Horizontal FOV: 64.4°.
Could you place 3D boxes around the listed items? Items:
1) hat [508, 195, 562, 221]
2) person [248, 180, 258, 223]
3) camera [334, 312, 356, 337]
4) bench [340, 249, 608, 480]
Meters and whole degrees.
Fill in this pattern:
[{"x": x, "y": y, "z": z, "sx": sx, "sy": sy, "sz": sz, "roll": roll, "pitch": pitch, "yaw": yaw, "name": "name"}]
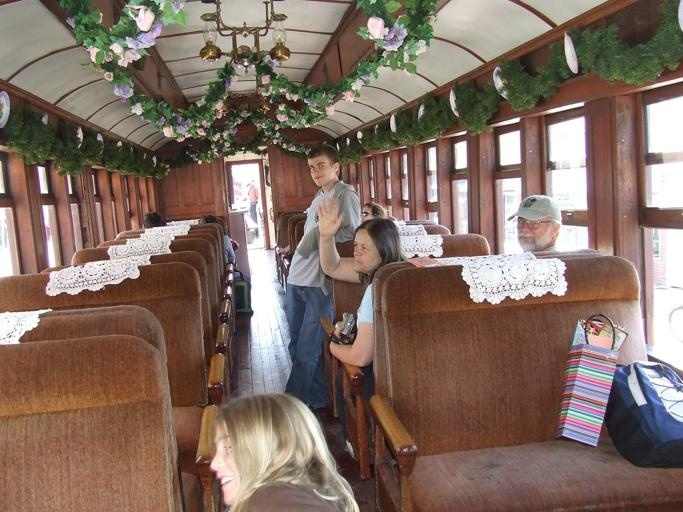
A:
[{"x": 1.383, "y": -0.324, "z": 3.775, "sx": 0.248, "sy": 0.134, "sz": 0.187, "roll": 5, "pitch": -1, "yaw": -16, "name": "hat"}, {"x": -3.021, "y": -1.863, "z": 18.804, "sx": 0.284, "sy": 1.424, "sz": 0.889, "roll": -2, "pitch": 3, "yaw": -11, "name": "person"}, {"x": 0.029, "y": 0.433, "z": 3.435, "sx": 0.136, "sy": 0.136, "sz": 0.283, "roll": 0, "pitch": -1, "yaw": -2, "name": "camera"}, {"x": 0.740, "y": 0.414, "z": 3.133, "sx": 1.422, "sy": 1.256, "sz": 0.798, "roll": -2, "pitch": 1, "yaw": -12, "name": "bench"}]
